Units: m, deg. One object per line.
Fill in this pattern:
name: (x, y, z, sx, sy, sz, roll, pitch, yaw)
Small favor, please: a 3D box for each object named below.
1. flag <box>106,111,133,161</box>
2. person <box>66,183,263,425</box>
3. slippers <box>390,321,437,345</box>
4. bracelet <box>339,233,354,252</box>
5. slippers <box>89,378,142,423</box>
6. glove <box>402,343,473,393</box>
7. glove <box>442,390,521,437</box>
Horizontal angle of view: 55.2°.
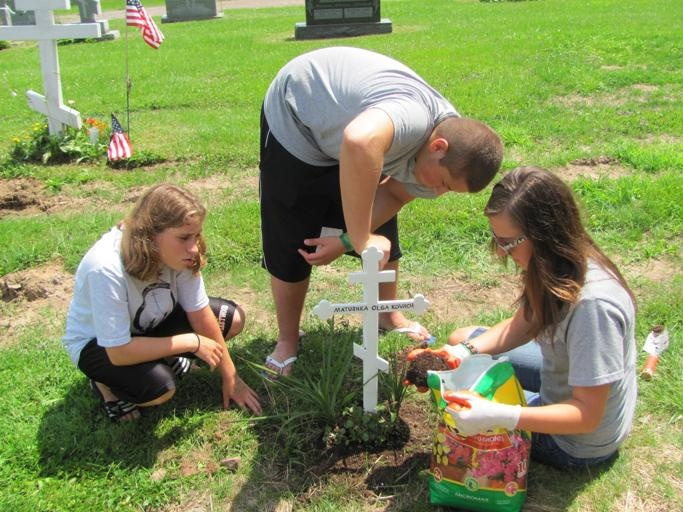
flag: (-2.714, -1.448, 7.939, 0.321, 0.638, 0.827, -9, 19, -16)
person: (-1.229, 0.306, 4.181, 1.154, 1.492, 0.420, -6, 19, -8)
slippers: (0.558, 0.566, 4.810, 0.231, 0.090, 0.154, 17, 27, 21)
bracelet: (0.041, -0.090, 4.105, 0.076, 0.098, 0.100, -25, -5, 12)
slippers: (-1.457, 0.970, 4.313, 0.167, 0.416, 0.114, -39, -7, 2)
glove: (0.591, 0.617, 3.989, 0.256, 0.171, 0.346, 16, 40, 42)
glove: (0.775, 0.860, 3.536, 0.341, 0.229, 0.139, -16, 20, 13)
